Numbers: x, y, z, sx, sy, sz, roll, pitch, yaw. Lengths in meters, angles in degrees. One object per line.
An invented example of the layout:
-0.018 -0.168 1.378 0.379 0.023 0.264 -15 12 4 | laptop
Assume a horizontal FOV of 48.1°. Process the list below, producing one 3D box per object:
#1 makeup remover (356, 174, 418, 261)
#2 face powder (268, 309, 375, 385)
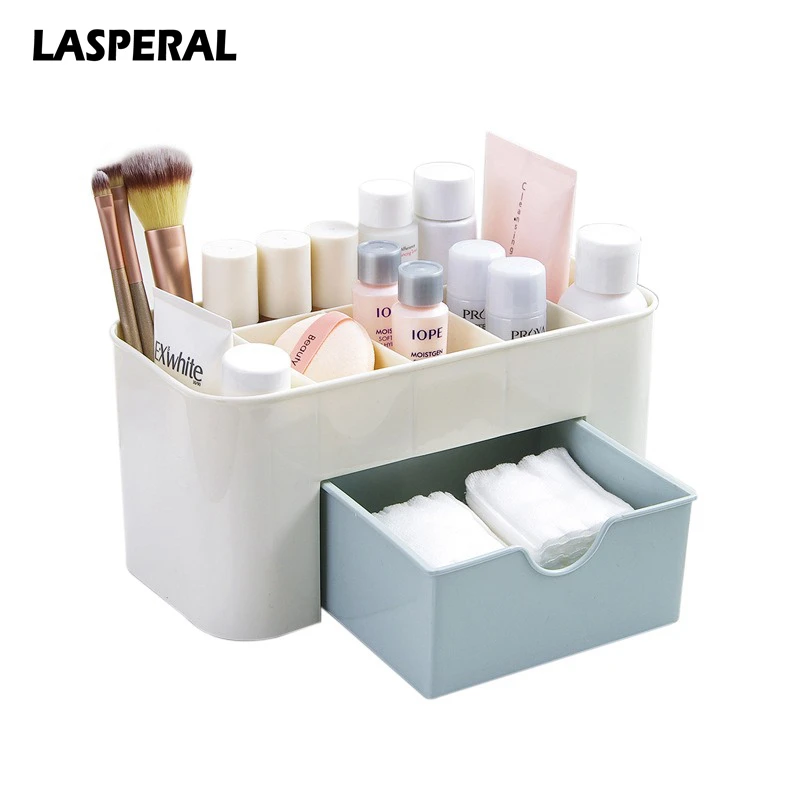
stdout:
-0.021 -0.266 1.423 0.097 0.141 0.100 -9 28 -13 | makeup remover
-0.091 -0.080 1.229 0.104 0.094 0.138 -22 33 -35 | face powder
